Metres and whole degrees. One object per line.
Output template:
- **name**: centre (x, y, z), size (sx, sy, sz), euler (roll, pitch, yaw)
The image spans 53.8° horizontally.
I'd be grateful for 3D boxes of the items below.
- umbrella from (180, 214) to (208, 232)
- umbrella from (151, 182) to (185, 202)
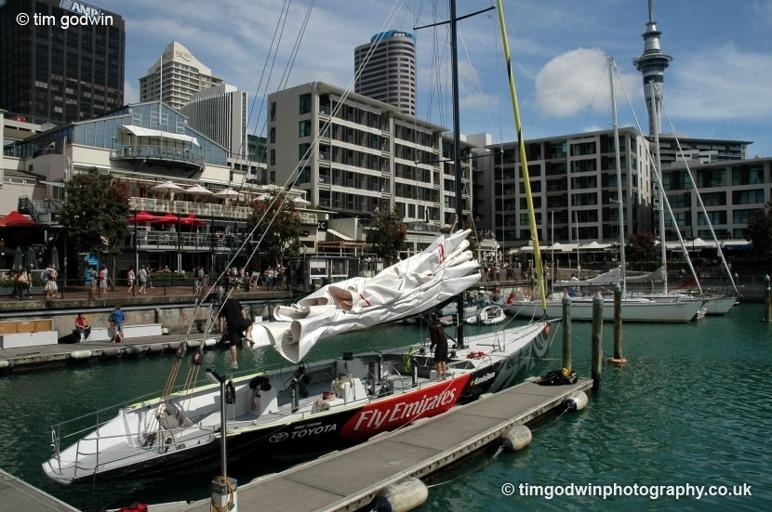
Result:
- **umbrella**: centre (-17.918, -3.110, 70.739), size (2.073, 0.949, 2.095), euler (1, -1, 9)
- **umbrella**: centre (-20.495, -6.414, 71.219), size (2.076, 1.757, 2.111), euler (4, 1, 23)
